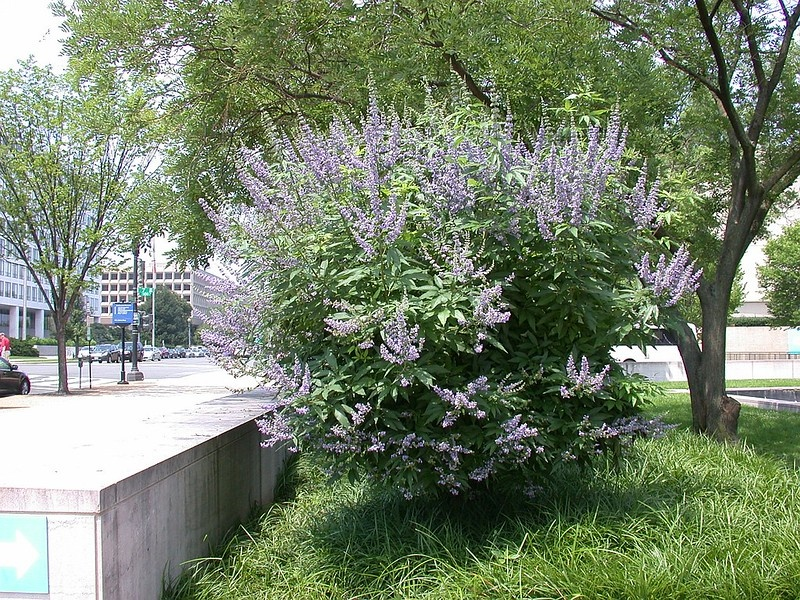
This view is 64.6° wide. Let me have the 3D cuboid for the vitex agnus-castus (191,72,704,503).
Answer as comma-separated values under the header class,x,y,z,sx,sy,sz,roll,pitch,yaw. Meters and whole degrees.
class,x,y,z,sx,sy,sz,roll,pitch,yaw
vitex agnus-castus,0.310,0.184,6.656,4.734,3.962,3.594,1,-5,-6
